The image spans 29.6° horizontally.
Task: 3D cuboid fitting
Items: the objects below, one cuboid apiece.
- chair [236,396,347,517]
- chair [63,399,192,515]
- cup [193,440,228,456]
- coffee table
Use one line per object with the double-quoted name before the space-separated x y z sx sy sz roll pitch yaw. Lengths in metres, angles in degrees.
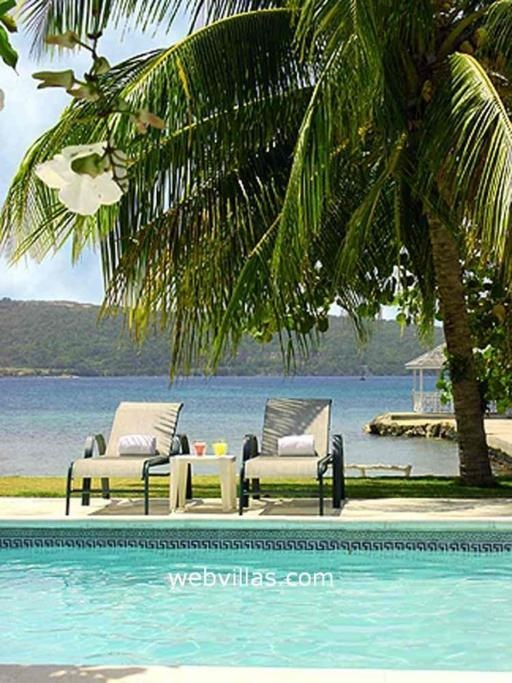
"chair" 0.277 0.859 8.088 0.535 0.937 1.036 -1 -12 8
"chair" -1.034 1.028 8.128 0.699 1.273 1.446 1 -10 5
"cup" -0.367 0.876 7.954 0.263 0.176 0.138 1 -7 4
"coffee table" -0.423 1.157 7.939 0.546 0.475 0.866 0 -9 -3
